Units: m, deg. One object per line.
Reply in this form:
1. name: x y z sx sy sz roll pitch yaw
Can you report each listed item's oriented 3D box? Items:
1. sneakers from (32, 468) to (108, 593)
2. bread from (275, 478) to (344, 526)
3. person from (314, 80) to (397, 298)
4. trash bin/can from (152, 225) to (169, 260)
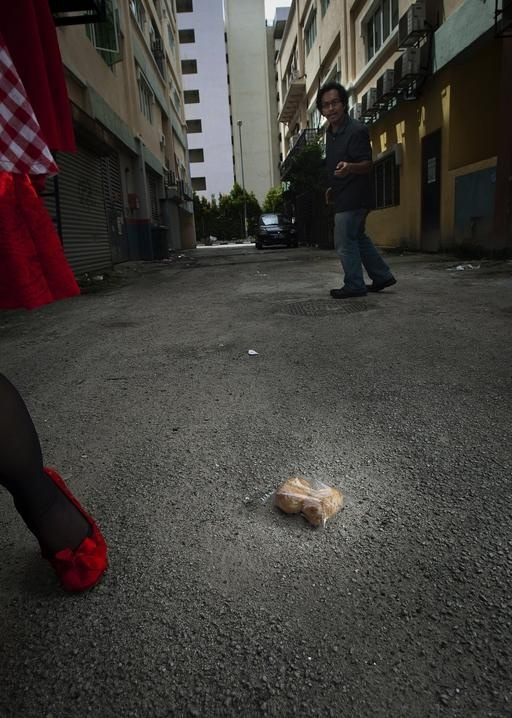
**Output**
1. sneakers: -0.434 0.384 1.041 0.125 0.292 0.159 -7 12 -26
2. bread: 0.172 0.429 1.344 0.197 0.055 0.184 7 17 36
3. person: 1.093 -1.876 4.868 0.971 2.322 0.610 -11 13 -41
4. trash bin/can: -4.028 -4.955 18.349 0.467 1.350 1.211 0 12 11
